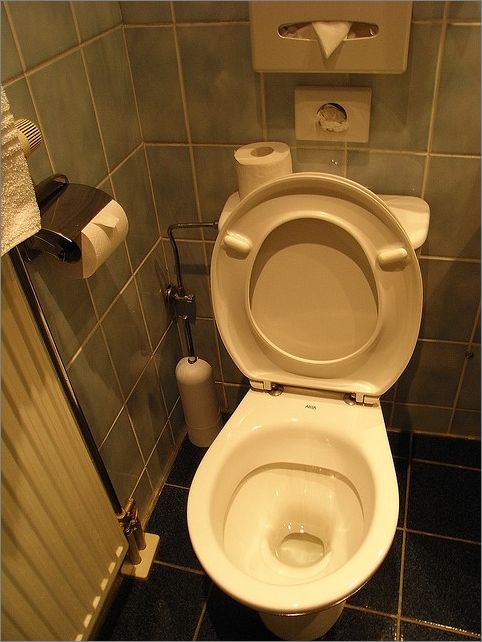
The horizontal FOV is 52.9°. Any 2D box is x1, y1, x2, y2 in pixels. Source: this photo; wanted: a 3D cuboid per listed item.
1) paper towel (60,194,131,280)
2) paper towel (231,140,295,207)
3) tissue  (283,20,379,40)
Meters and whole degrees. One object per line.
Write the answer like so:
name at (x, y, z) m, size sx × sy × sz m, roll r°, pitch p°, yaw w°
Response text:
paper towel at (-0.227, -0.136, 0.754) m, size 0.079 × 0.102 × 0.123 m, roll 28°, pitch 48°, yaw -4°
paper towel at (0.049, -0.313, 0.995) m, size 0.117 × 0.098 × 0.155 m, roll -1°, pitch 40°, yaw 6°
tissue  at (0.143, -0.487, 0.808) m, size 0.166 × 0.029 × 0.036 m, roll 8°, pitch 40°, yaw 15°
